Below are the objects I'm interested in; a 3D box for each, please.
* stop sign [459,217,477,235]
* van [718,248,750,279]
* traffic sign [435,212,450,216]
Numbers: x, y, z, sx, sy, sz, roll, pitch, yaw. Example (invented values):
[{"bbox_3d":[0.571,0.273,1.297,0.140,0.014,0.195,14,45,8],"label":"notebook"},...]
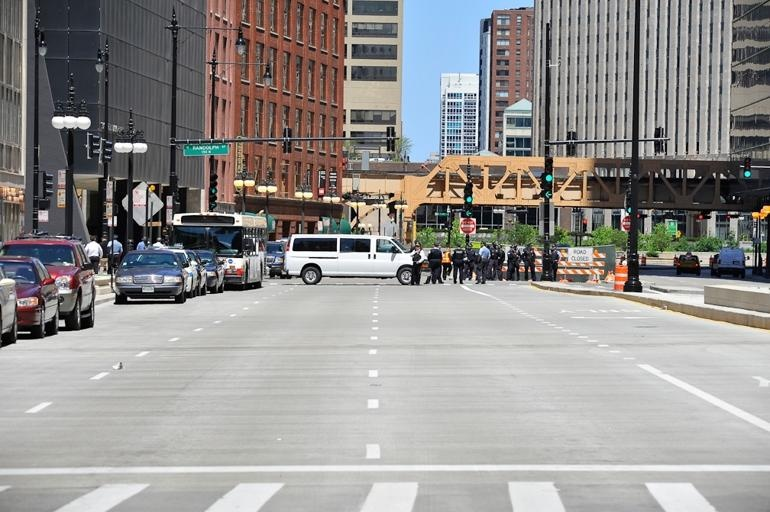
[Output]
[{"bbox_3d":[5.103,-1.895,63.716,0.859,1.098,1.790,-2,4,9],"label":"stop sign"},{"bbox_3d":[27.074,0.488,80.038,1.646,1.550,2.874,0,4,5],"label":"van"},{"bbox_3d":[6.174,-4.637,111.707,1.788,0.429,1.658,1,3,9],"label":"traffic sign"}]
